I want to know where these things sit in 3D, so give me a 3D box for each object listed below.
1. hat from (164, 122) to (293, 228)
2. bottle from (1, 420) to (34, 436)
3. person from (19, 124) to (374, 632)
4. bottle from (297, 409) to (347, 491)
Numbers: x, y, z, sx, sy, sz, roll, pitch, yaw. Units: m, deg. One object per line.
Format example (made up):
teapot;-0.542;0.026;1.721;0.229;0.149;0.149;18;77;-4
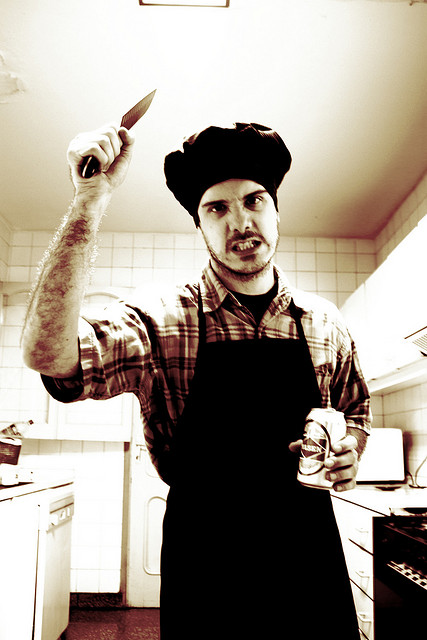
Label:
hat;0.066;-0.298;0.965;0.195;0.117;0.217;-8;31;-38
bottle;-1.200;0.646;3.068;0.154;0.087;0.138;6;-10;-36
person;0.015;0.062;0.840;0.634;0.834;0.225;4;-10;-26
bottle;0.185;0.203;0.808;0.129;0.124;0.046;8;-12;-43
